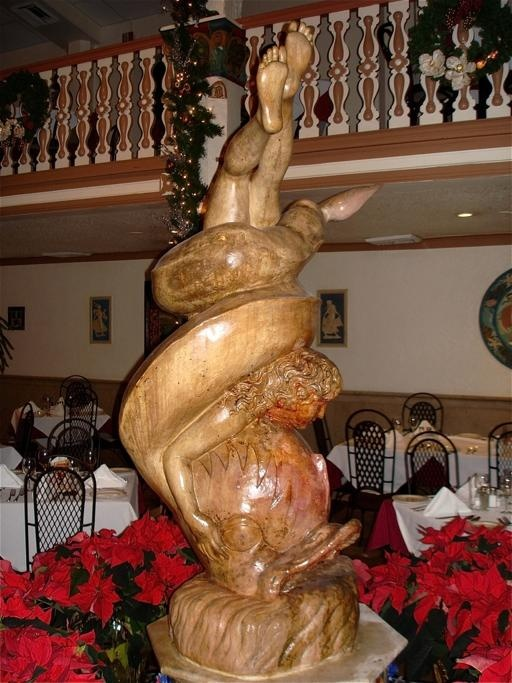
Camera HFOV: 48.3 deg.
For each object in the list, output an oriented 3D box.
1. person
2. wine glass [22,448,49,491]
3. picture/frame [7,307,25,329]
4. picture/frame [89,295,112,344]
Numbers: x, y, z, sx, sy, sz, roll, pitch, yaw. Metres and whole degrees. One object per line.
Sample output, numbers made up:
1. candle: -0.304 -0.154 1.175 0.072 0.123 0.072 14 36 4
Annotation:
1. person: -0.022 -0.124 1.127 0.355 0.823 0.345 -1 1 8
2. wine glass: -1.495 0.879 3.883 0.103 0.280 0.198 21 14 -30
3. picture/frame: -4.518 -0.450 10.697 0.508 0.477 0.154 -1 1 40
4. picture/frame: -2.656 -0.375 9.780 0.452 0.769 0.121 -1 1 35
